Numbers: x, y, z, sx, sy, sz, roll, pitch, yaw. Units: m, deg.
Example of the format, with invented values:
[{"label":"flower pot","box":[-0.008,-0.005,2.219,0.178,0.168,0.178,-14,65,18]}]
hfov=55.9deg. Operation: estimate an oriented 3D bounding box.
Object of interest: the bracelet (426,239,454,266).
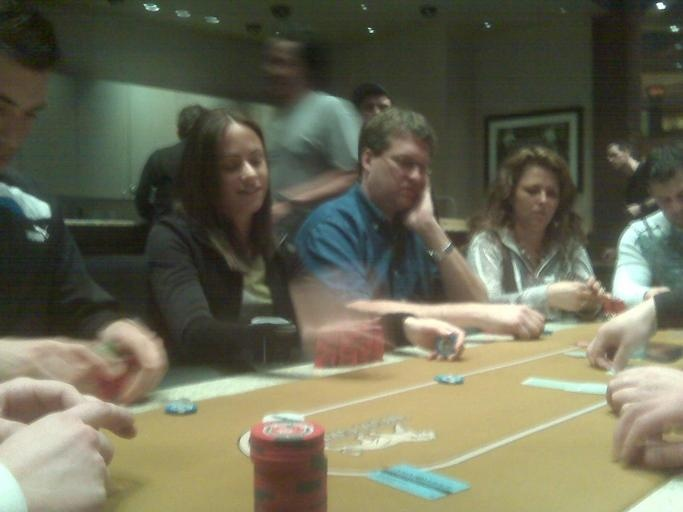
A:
[{"label":"bracelet","box":[0.246,-0.008,1.613,0.053,0.020,0.057,-35,-9,12]}]

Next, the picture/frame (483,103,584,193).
[{"label":"picture/frame","box":[0.340,-0.196,1.149,0.143,0.142,0.010,-1,12,5]}]

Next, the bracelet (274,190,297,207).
[{"label":"bracelet","box":[-0.094,-0.094,1.048,0.028,0.007,0.014,28,-48,-27]}]
